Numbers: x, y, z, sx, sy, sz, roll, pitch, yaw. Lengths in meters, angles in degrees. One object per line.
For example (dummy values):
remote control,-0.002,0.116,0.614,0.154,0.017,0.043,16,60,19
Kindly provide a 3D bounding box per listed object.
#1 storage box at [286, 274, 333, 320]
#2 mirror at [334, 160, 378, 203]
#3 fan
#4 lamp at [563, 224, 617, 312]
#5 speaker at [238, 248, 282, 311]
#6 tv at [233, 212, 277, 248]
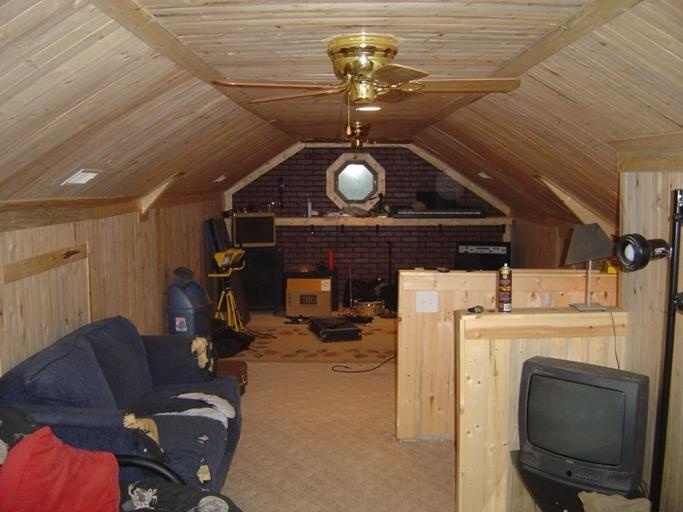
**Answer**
storage box,-0.429,0.546,7.956,0.805,0.408,0.618,0,-2,-2
mirror,0.179,-1.099,8.460,1.018,0.610,0.145,0,2,-4
fan,0.168,-0.894,2.968,0.936,0.128,0.681,0,-3,-7
lamp,1.592,0.074,3.748,0.270,0.602,0.551,7,16,23
speaker,-1.105,0.330,8.135,0.579,0.919,0.212,-3,17,-9
tv,-1.209,-0.357,7.973,0.792,0.412,0.342,0,0,-16
